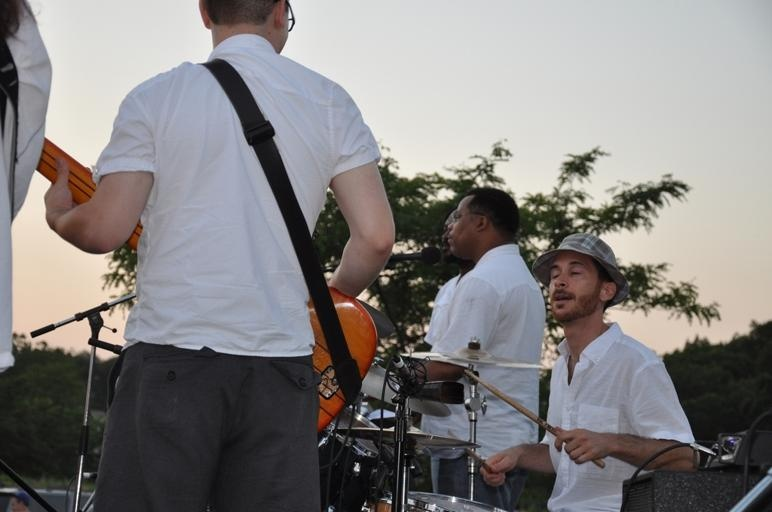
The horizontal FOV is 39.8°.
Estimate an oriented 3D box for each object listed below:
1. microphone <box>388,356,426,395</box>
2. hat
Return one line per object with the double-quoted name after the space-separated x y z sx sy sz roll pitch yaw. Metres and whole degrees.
0.151 0.861 8.028 0.232 0.306 0.132 -33 12 2 "microphone"
1.539 0.102 8.424 0.601 0.645 0.988 -2 -2 2 "hat"
